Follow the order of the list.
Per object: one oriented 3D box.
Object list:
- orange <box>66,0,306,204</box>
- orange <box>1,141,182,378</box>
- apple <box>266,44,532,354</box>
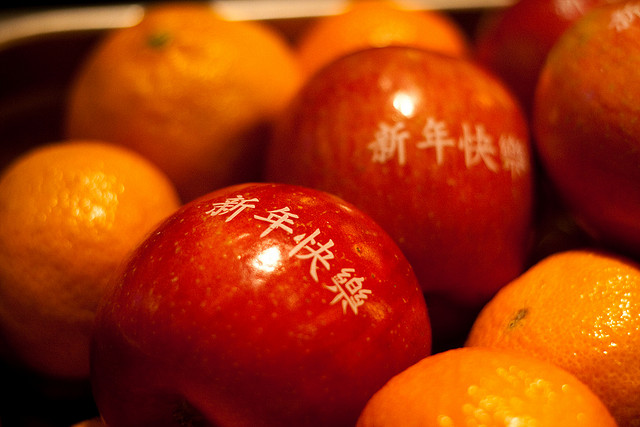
[{"bbox_3d":[-0.228,-0.158,0.946,0.300,0.329,0.309,-10,15,-31],"label":"orange"},{"bbox_3d":[-0.315,0.072,0.865,0.268,0.287,0.288,10,77,7],"label":"orange"},{"bbox_3d":[0.127,0.002,0.895,0.359,0.382,0.483,0,81,4],"label":"apple"}]
